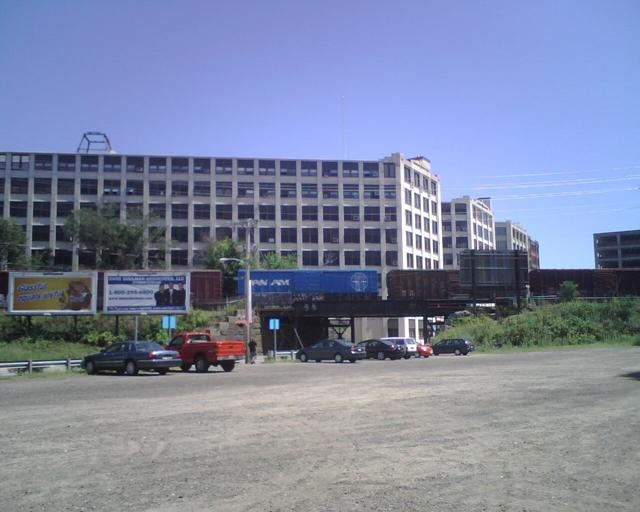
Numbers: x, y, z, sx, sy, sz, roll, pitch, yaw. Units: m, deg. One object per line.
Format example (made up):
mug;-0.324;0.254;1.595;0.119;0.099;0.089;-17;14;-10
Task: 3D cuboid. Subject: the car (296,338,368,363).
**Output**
car;0.630;5.921;38.051;4.153;1.487;1.392;-11;-12;37

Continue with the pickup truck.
pickup truck;-5.753;4.696;30.375;3.410;1.427;1.942;0;-5;38

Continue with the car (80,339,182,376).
car;-8.541;4.636;27.832;4.282;1.544;1.036;-7;-10;23

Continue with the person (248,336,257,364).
person;-4.300;6.075;39.005;0.477;1.532;2.212;-1;-10;-9

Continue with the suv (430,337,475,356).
suv;9.966;6.914;46.776;2.996;1.046;1.433;-1;-4;33

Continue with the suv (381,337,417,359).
suv;5.520;6.459;43.254;2.506;0.996;1.197;1;-2;43
